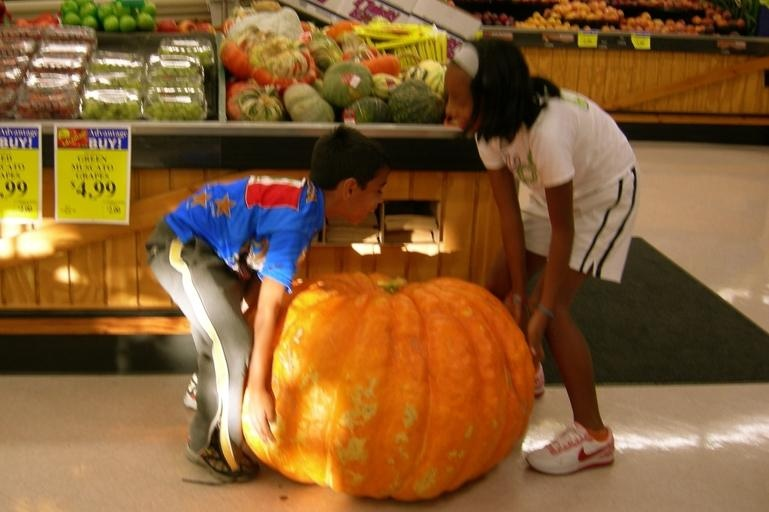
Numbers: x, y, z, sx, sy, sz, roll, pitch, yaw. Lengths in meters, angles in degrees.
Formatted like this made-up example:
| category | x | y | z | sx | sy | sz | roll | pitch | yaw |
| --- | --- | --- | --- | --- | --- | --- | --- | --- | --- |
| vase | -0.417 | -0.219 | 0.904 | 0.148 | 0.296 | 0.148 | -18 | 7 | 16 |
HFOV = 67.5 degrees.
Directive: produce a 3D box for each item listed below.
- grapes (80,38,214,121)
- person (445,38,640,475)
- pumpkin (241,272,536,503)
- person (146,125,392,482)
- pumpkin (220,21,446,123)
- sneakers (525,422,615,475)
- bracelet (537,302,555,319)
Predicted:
| category | x | y | z | sx | sy | sz | roll | pitch | yaw |
| --- | --- | --- | --- | --- | --- | --- | --- | --- | --- |
| grapes | -1.292 | -1.007 | 3.173 | 0.692 | 0.450 | 0.720 | -5 | 18 | -17 |
| person | 0.706 | -0.069 | 2.693 | 0.781 | 1.852 | 0.765 | 4 | 21 | 21 |
| pumpkin | 0.083 | 0.545 | 2.822 | 1.263 | 0.880 | 1.285 | -4 | 14 | -16 |
| person | -0.555 | 0.182 | 2.613 | 0.811 | 1.541 | 0.897 | 20 | 17 | 40 |
| pumpkin | -0.311 | -1.065 | 3.351 | 1.321 | 0.508 | 0.845 | 3 | 17 | 7 |
| sneakers | 0.837 | 0.874 | 2.687 | 0.442 | 0.247 | 0.185 | -4 | 17 | -5 |
| bracelet | 0.683 | 0.236 | 2.437 | 0.050 | 0.024 | 0.056 | 16 | 7 | 7 |
